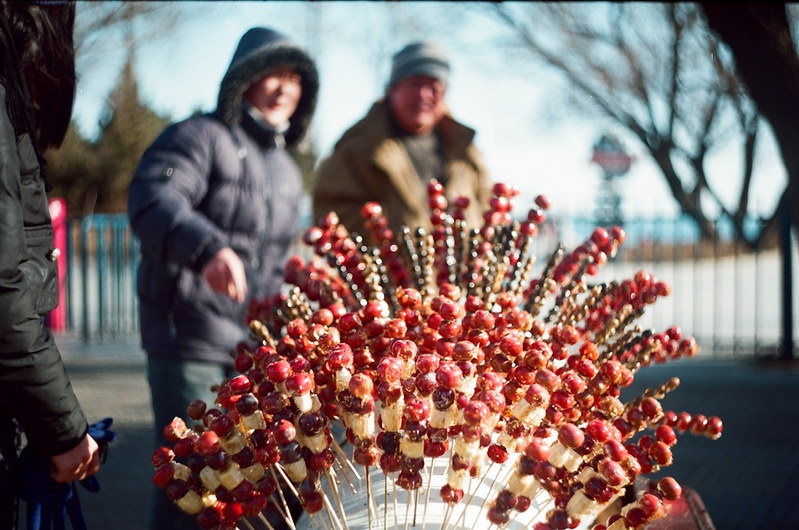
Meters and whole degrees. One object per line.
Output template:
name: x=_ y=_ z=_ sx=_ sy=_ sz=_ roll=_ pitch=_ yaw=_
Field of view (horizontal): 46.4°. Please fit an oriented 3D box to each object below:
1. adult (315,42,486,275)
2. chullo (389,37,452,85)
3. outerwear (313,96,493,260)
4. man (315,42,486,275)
adult: x=0.069 y=-0.452 z=4.383 sx=0.990 sy=1.093 sz=0.560 roll=0 pitch=0 yaw=-21
chullo: x=0.087 y=-0.879 z=4.159 sx=0.214 sy=0.218 sz=0.171 roll=-13 pitch=5 yaw=2
outerwear: x=-0.056 y=-0.410 z=4.401 sx=1.007 sy=0.948 sz=0.540 roll=-4 pitch=4 yaw=-26
man: x=0.010 y=-0.387 z=4.033 sx=1.000 sy=1.072 sz=0.566 roll=0 pitch=5 yaw=-29
